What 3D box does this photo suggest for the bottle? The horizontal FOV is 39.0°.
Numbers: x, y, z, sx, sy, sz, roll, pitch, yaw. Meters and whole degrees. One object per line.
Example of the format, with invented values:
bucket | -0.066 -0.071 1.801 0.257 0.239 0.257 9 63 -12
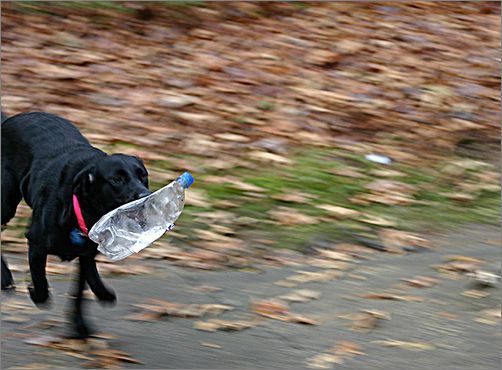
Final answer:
bottle | -0.649 0.210 4.528 0.577 0.589 0.258 -11 44 -31
